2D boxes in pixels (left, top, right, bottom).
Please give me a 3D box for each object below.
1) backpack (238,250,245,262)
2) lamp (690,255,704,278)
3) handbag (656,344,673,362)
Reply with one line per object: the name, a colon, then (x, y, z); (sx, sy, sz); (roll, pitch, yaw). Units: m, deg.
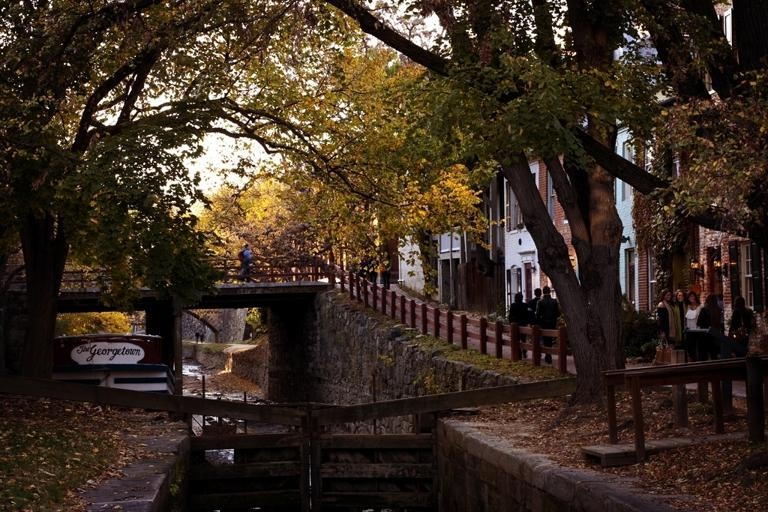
backpack: (-7.326, 0.029, 53.122); (0.406, 0.592, 0.551); (0, 3, -8)
lamp: (9.578, 0.321, 31.849); (0.229, 0.667, 0.558); (3, -10, -27)
handbag: (6.877, 2.375, 25.190); (0.407, 0.563, 0.438); (0, -4, -17)
